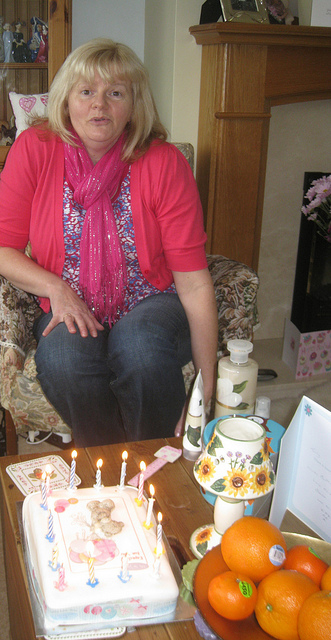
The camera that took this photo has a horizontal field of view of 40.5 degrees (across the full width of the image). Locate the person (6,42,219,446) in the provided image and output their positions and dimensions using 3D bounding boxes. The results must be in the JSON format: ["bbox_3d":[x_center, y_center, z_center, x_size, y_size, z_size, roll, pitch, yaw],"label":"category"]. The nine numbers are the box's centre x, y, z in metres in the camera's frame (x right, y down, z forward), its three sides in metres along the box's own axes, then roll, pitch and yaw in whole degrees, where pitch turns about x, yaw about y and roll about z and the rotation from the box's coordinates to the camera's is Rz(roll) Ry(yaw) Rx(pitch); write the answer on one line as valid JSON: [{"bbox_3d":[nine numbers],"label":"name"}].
[{"bbox_3d":[-0.138,-0.213,1.261,0.654,1.049,0.391,8,9,2],"label":"person"}]

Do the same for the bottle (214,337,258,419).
[{"bbox_3d":[0.163,0.140,1.027,0.095,0.176,0.186,9,10,8],"label":"bottle"}]

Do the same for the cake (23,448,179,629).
[{"bbox_3d":[-0.090,0.295,0.607,0.185,0.079,0.264,6,10,-24],"label":"cake"}]
